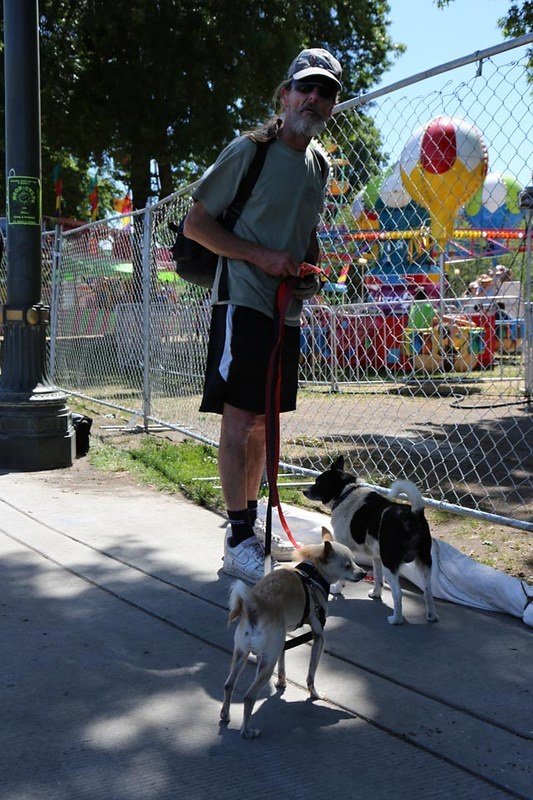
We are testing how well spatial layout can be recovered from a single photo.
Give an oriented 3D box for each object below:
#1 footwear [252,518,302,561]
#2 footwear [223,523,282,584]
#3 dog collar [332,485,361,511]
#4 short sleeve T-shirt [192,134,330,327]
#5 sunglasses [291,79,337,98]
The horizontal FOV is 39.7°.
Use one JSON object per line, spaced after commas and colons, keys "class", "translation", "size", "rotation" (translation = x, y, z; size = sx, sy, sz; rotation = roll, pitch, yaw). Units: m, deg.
{"class": "footwear", "translation": [0.053, 0.555, 2.916], "size": [0.266, 0.112, 0.089], "rotation": [19, 4, 35]}
{"class": "footwear", "translation": [-0.061, 0.600, 2.809], "size": [0.249, 0.168, 0.084], "rotation": [11, 4, 36]}
{"class": "dog collar", "translation": [0.316, 0.399, 2.897], "size": [0.024, 0.095, 0.100], "rotation": [44, 31, -7]}
{"class": "short sleeve T-shirt", "translation": [0.010, -0.613, 2.764], "size": [0.610, 0.723, 0.276], "rotation": [3, 5, -34]}
{"class": "sunglasses", "translation": [0.180, -1.057, 2.539], "size": [0.163, 0.053, 0.069], "rotation": [0, 5, -20]}
